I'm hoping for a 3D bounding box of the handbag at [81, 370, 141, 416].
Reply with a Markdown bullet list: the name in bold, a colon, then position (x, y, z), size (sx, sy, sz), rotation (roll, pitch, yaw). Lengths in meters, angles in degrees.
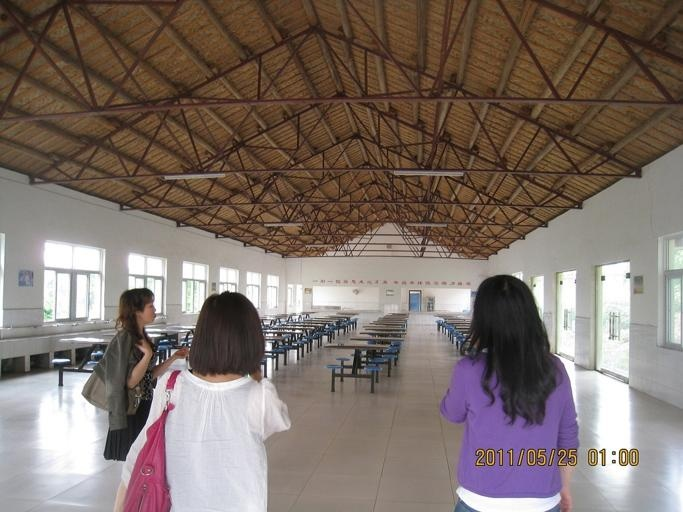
- **handbag**: position (-1.622, 0.985, 3.285), size (0.355, 0.311, 0.248), rotation (3, -29, -14)
